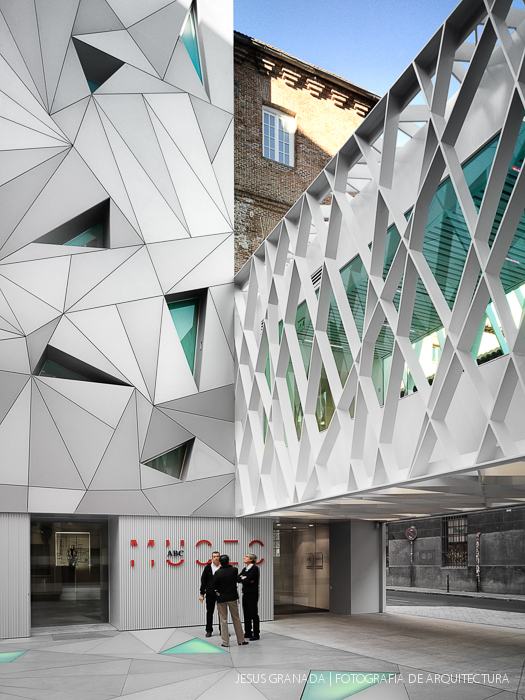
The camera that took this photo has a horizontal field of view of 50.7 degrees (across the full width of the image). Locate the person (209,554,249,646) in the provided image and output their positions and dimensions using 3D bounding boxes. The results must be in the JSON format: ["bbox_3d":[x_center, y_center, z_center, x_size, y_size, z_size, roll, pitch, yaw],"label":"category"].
[{"bbox_3d":[-0.667,4.987,11.010,0.594,1.784,1.113,-1,-12,0],"label":"person"}]
